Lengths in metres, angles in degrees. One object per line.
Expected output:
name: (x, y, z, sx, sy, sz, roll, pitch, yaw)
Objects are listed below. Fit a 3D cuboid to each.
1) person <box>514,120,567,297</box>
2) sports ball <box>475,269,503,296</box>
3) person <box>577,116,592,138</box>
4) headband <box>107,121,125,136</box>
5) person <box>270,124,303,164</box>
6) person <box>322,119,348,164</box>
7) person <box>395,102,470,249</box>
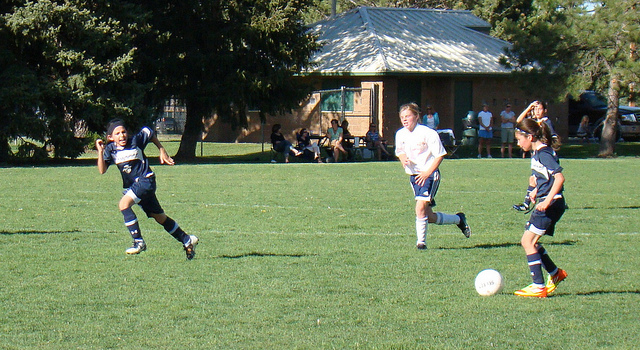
person: (5.015, 0.755, 18.131, 1.055, 4.021, 0.574, -1, 2, 13)
sports ball: (3.769, 2.418, 18.080, 0.580, 0.562, 0.542, 5, 32, -3)
person: (14.292, -2.593, 43.073, 0.689, 1.145, 1.704, 0, 2, 19)
headband: (-5.009, -1.163, 19.262, 0.334, 0.240, 0.322, 1, -23, -24)
person: (-1.475, -1.326, 33.696, 1.088, 1.588, 1.030, 1, 2, 45)
person: (0.648, -1.447, 33.929, 0.882, 1.781, 0.989, -2, 2, -28)
person: (2.708, 0.020, 19.834, 1.571, 3.614, 0.720, -1, 2, -17)
